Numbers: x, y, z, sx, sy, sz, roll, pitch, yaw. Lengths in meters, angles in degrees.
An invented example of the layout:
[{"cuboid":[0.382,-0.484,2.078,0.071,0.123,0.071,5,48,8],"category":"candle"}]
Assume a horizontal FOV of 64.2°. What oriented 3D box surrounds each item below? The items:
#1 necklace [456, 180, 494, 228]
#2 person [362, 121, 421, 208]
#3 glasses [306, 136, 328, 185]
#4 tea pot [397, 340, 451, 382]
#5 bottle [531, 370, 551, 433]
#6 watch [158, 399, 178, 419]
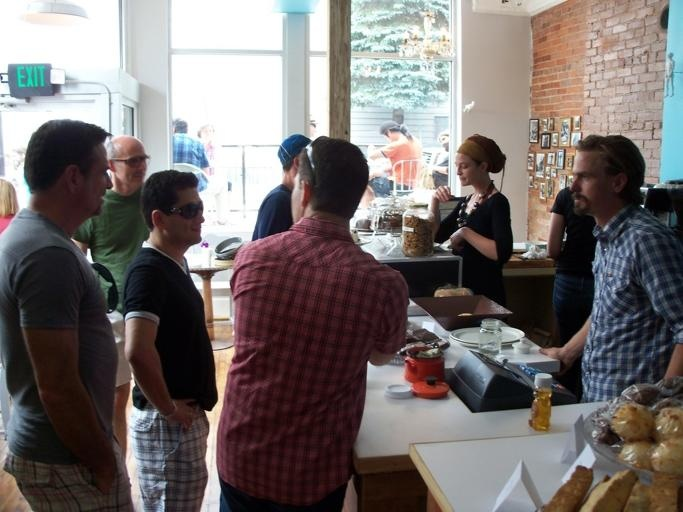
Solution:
[{"cuboid":[0.836,-0.311,3.456,0.238,0.324,0.113,-7,42,1],"category":"necklace"},{"cuboid":[0.603,-1.155,7.574,0.820,1.358,0.635,6,2,14],"category":"person"},{"cuboid":[-0.091,-0.285,1.583,0.092,0.121,0.059,-7,40,-22],"category":"glasses"},{"cuboid":[0.310,0.410,2.144,0.129,0.102,0.147,-4,6,-35],"category":"tea pot"},{"cuboid":[0.664,0.463,1.805,0.066,0.176,0.161,3,12,22],"category":"bottle"},{"cuboid":[-0.600,0.525,1.888,0.047,0.065,0.031,-1,-7,-12],"category":"watch"}]
